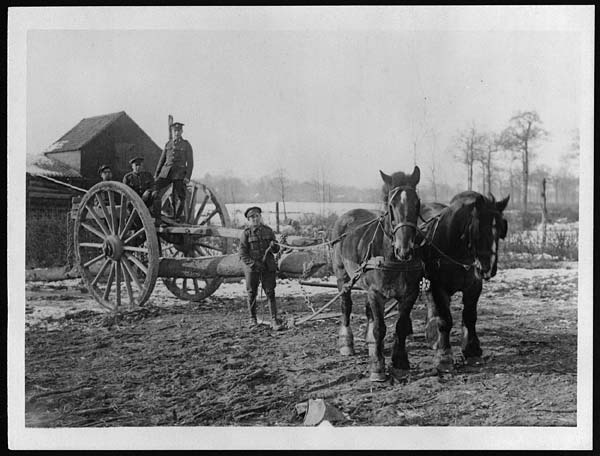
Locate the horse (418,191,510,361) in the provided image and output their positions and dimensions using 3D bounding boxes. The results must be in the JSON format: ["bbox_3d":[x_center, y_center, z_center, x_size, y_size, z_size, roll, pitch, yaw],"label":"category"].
[{"bbox_3d":[2.111,0.679,9.239,0.722,2.312,3.148,1,1,-4],"label":"horse"}]

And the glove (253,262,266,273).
[{"bbox_3d":[-0.636,0.604,9.842,0.136,0.145,0.125,0,-1,-4],"label":"glove"}]

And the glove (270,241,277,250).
[{"bbox_3d":[-0.409,0.258,9.796,0.100,0.120,0.032,3,4,10],"label":"glove"}]
